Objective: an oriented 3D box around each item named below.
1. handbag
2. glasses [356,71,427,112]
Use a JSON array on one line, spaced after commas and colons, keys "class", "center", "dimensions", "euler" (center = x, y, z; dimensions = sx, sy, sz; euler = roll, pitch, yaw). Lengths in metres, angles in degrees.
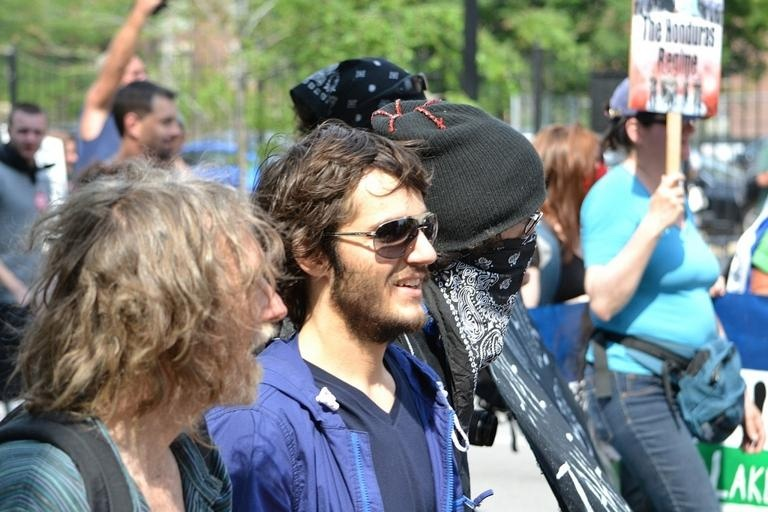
[{"class": "handbag", "center": [1.795, 0.736, 7.138], "dimensions": [0.226, 0.564, 0.410], "euler": [9, 16, 35]}, {"class": "glasses", "center": [0.055, -0.942, 7.216], "dimensions": [0.287, 0.156, 0.221], "euler": [-27, 18, -17]}]
